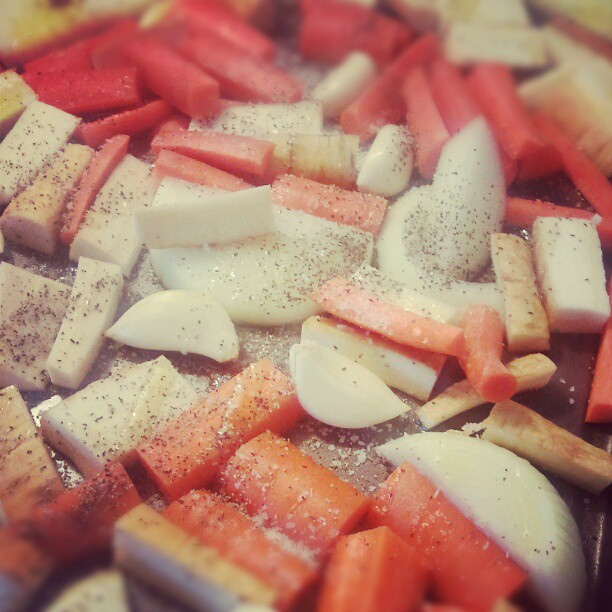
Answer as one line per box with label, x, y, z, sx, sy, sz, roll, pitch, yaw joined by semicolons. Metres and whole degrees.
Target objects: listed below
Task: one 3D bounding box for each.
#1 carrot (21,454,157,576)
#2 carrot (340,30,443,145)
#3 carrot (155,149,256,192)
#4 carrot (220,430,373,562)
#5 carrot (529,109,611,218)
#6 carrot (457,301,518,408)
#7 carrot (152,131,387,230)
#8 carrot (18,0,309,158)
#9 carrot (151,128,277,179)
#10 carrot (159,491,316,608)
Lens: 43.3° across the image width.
carrot;-0.197;0.186;0.752;0.078;0.022;0.085;37;46;18
carrot;0.108;-0.284;1.006;0.079;0.155;0.040;40;19;-10
carrot;-0.132;-0.176;1.000;0.109;0.032;0.028;19;69;-6
carrot;-0.009;0.186;0.797;0.145;0.088;0.097;34;71;20
carrot;0.338;-0.183;0.976;0.158;0.030;0.037;38;14;-22
carrot;0.207;0.050;0.878;0.067;0.047;0.124;-6;40;7
carrot;-0.053;-0.159;0.973;0.323;0.082;0.109;13;61;4
carrot;-0.188;-0.311;0.991;0.269;0.094;0.196;-24;51;-18
carrot;-0.130;-0.208;1.019;0.162;0.037;0.045;6;68;5
carrot;-0.054;0.213;0.711;0.155;0.063;0.065;28;31;17
